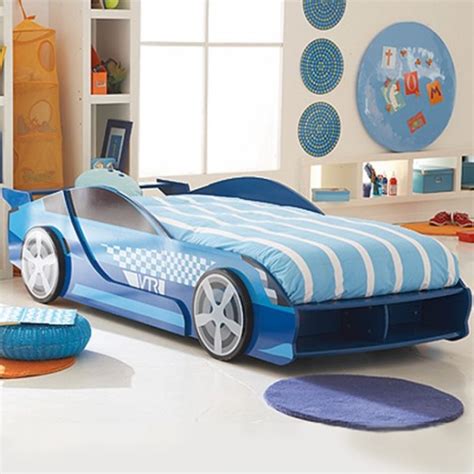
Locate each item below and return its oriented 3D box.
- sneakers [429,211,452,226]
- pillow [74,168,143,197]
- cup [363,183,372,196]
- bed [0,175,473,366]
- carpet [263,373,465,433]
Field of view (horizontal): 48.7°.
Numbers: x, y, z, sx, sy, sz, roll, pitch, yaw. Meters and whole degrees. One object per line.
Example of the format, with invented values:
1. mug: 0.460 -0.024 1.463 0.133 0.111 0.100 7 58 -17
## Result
1. sneakers: 2.095 -0.182 5.445 0.280 0.132 0.105 -3 6 -13
2. pillow: -0.756 -0.332 3.117 0.313 0.076 0.233 22 24 -3
3. cup: 1.386 -0.500 5.565 0.100 0.118 0.105 -1 3 0
4. bed: -0.120 0.192 2.389 0.963 0.562 1.844 -6 10 -39
5. carpet: 0.390 0.500 1.614 0.584 0.020 0.474 0 3 -17
